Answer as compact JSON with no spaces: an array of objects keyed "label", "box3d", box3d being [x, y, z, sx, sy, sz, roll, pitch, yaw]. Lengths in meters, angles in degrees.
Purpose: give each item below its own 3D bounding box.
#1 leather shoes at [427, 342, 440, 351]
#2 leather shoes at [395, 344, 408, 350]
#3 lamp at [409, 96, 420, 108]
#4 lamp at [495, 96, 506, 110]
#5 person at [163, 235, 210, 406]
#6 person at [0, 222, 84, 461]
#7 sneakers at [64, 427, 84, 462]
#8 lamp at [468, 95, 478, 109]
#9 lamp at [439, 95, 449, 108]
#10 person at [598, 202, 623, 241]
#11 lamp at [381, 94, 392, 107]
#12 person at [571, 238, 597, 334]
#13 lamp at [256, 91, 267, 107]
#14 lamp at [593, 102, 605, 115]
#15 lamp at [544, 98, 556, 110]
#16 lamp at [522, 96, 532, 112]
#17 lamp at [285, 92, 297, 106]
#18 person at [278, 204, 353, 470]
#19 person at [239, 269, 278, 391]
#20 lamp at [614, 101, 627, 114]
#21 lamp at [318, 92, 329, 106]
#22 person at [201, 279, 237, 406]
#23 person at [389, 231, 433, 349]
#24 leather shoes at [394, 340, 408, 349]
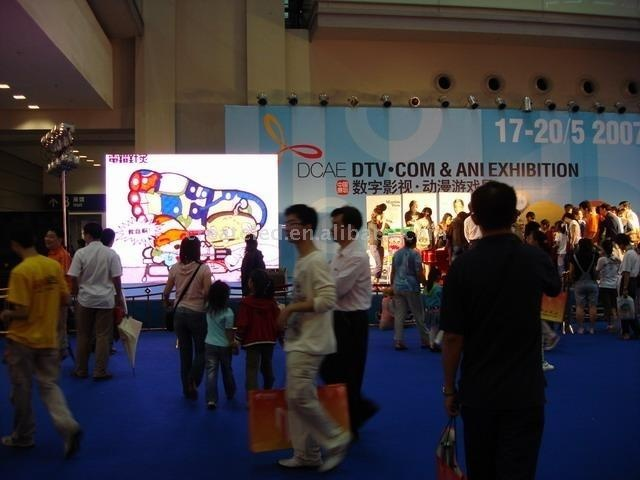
[{"label":"leather shoes","box3d":[1.618,1.528,7.761,0.198,0.099,0.077,-22,11,23]},{"label":"leather shoes","box3d":[1.204,1.549,7.939,0.158,0.130,0.079,-2,1,-5]},{"label":"lamp","box3d":[2.359,-3.417,13.490,0.311,0.237,0.323,-15,11,23]},{"label":"lamp","box3d":[4.539,-3.423,13.552,0.188,0.300,0.480,0,2,24]},{"label":"person","box3d":[-1.384,0.830,5.729,0.425,1.733,0.591,-1,1,-34]},{"label":"person","box3d":[-2.341,0.951,4.532,0.652,1.651,0.510,-1,1,-20]},{"label":"sneakers","box3d":[-2.032,1.667,4.445,0.078,0.261,0.176,6,-3,-14]},{"label":"lamp","box3d":[3.855,-3.449,13.610,0.225,0.274,0.368,-17,28,5]},{"label":"lamp","box3d":[3.127,-3.433,13.553,0.271,0.312,0.324,-2,4,5]},{"label":"person","box3d":[6.733,-0.399,12.519,0.438,0.875,0.826,1,4,24]},{"label":"lamp","box3d":[1.653,-3.442,13.571,0.226,0.382,0.669,0,2,6]},{"label":"person","box3d":[4.511,0.775,9.191,0.465,1.595,0.375,-1,1,-28]},{"label":"lamp","box3d":[-1.406,-3.358,12.985,0.223,0.306,0.297,0,-18,-6]},{"label":"lamp","box3d":[7.195,-3.417,14.021,0.230,0.275,0.454,5,18,-10]},{"label":"lamp","box3d":[5.923,-3.437,13.868,0.208,0.294,0.353,0,2,28]},{"label":"lamp","box3d":[5.241,-3.413,13.658,0.205,0.375,0.368,0,2,30]},{"label":"lamp","box3d":[-0.660,-3.374,13.022,0.240,0.195,0.343,0,-20,0]},{"label":"person","box3d":[-0.037,0.760,4.135,0.530,2.053,0.476,-1,1,-5]},{"label":"person","box3d":[-0.615,0.903,5.372,0.442,1.237,0.343,-1,1,-12]},{"label":"lamp","box3d":[7.864,-3.401,14.085,0.266,0.256,0.201,-1,2,0]},{"label":"lamp","box3d":[0.076,-3.337,13.019,0.191,0.299,0.306,-1,2,-4]},{"label":"person","box3d":[-1.040,1.062,5.579,0.320,1.264,0.362,-1,1,-11]},{"label":"person","box3d":[1.334,0.749,8.042,0.558,1.765,0.488,1,6,19]},{"label":"leather shoes","box3d":[1.205,1.542,8.002,0.171,0.133,0.084,-3,1,-14]}]
